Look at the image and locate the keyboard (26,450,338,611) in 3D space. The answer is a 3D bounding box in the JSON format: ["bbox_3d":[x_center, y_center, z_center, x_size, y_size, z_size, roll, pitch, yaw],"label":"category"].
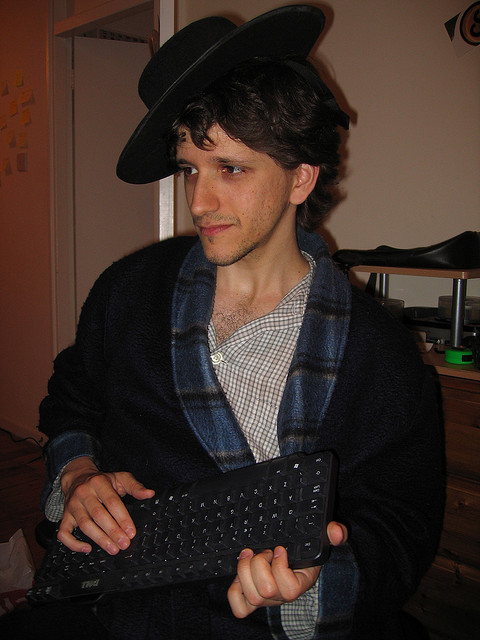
[{"bbox_3d":[-0.024,0.268,0.740,0.053,0.133,0.414,23,-34,-32],"label":"keyboard"}]

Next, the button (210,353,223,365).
[{"bbox_3d":[-0.038,0.065,0.961,0.020,0.017,0.006,0,-8,8],"label":"button"}]

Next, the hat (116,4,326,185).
[{"bbox_3d":[-0.062,-0.374,0.998,0.397,0.265,0.250,11,14,35],"label":"hat"}]
